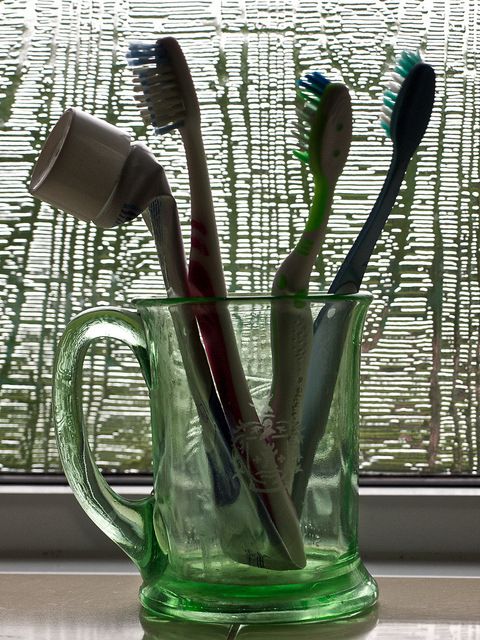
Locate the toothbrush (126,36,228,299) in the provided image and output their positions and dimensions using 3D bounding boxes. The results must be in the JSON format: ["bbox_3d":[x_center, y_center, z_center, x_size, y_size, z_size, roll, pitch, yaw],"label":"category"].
[{"bbox_3d":[-0.035,-0.083,0.457,0.043,0.145,0.034,-6,5,11],"label":"toothbrush"}]

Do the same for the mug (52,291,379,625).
[{"bbox_3d":[0.000,0.074,0.565,0.240,0.242,0.166,-2,1,-1],"label":"mug"}]

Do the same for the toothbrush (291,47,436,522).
[{"bbox_3d":[0.069,-0.020,0.462,0.017,0.292,0.033,16,-15,10],"label":"toothbrush"}]

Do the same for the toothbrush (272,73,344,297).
[{"bbox_3d":[0.034,-0.081,0.462,0.032,0.145,0.015,3,4,-39],"label":"toothbrush"}]

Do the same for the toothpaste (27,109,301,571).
[{"bbox_3d":[-0.030,0.022,0.471,0.096,0.301,0.052,-20,-4,-9],"label":"toothpaste"}]
